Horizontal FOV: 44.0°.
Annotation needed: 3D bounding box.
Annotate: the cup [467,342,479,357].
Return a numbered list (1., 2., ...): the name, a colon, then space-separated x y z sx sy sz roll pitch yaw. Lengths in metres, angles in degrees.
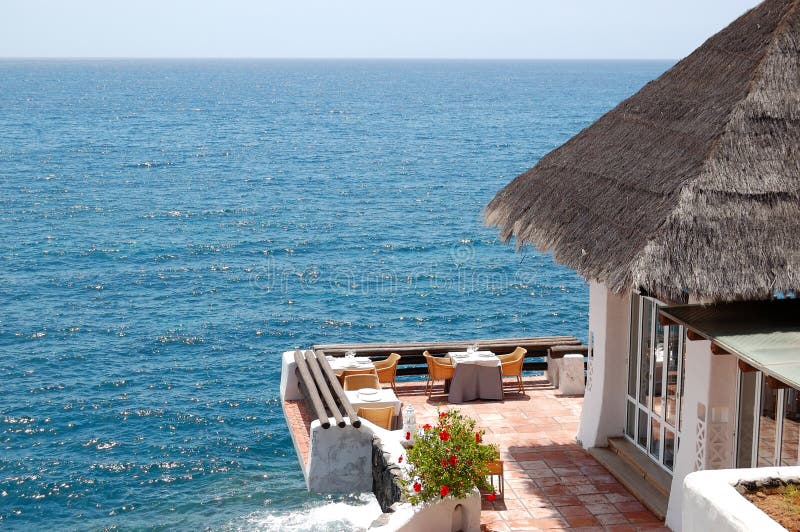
1. cup: 1.839 2.089 24.903 0.308 0.249 0.167 0 -1 -1

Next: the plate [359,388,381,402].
1. plate: -0.718 3.012 23.089 0.497 0.187 0.482 -1 6 -4
